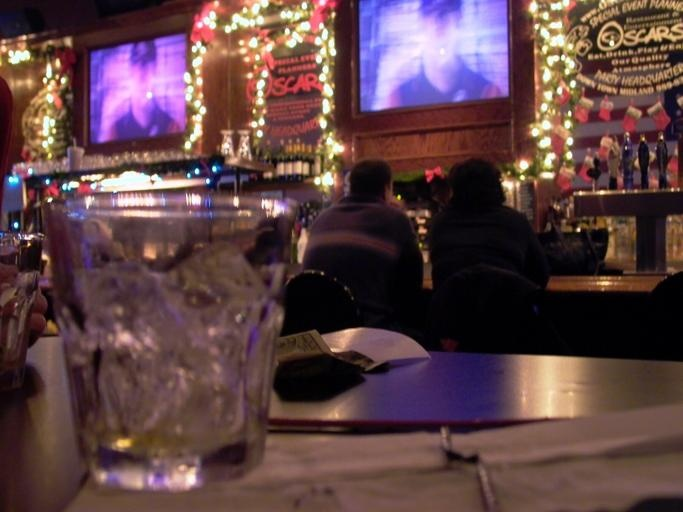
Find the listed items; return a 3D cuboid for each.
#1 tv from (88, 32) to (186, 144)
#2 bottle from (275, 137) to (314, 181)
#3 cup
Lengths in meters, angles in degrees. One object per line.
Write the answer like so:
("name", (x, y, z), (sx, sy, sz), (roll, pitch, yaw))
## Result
("tv", (-1.758, -1.487, 5.854), (0.925, 0.818, 0.105), (0, -1, 28))
("bottle", (-0.326, -0.694, 4.712), (0.238, 0.290, 0.261), (3, -2, 5))
("cup", (-0.113, 0.065, 0.561), (0.172, 0.229, 0.188), (0, -4, 0))
